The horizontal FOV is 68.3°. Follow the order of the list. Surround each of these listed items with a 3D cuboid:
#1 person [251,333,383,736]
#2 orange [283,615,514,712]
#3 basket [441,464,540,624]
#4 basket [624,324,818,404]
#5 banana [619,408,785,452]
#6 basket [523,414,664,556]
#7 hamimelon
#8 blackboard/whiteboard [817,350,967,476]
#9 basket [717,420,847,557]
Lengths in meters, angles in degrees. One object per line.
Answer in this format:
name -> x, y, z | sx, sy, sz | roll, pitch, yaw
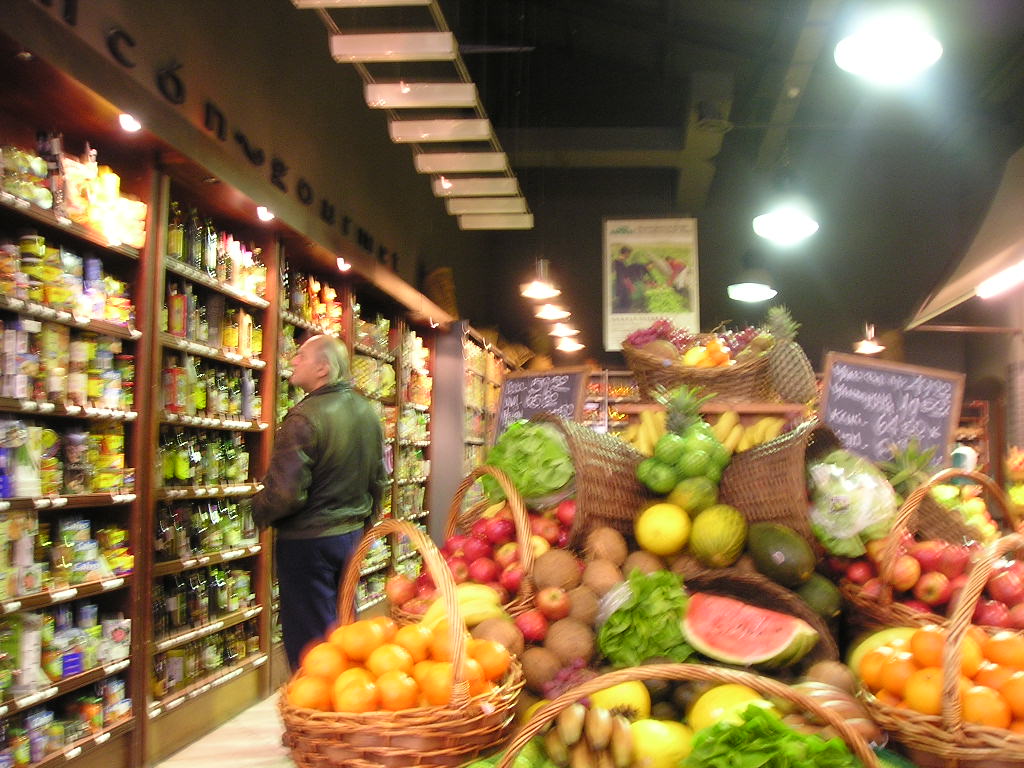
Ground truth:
person -> -0.963, 0.773, 4.036 | 0.602, 1.941, 0.674 | 3, 4, -8
orange -> -0.315, 0.736, 2.055 | 0.442, 0.231, 0.480 | 2, 5, 33
basket -> -0.066, 0.507, 2.468 | 0.236, 0.447, 0.270 | -2, 4, -23
basket -> 0.881, -0.052, 3.100 | 0.726, 0.338, 0.436 | -3, -6, -12
banana -> 0.671, 0.175, 2.697 | 0.599, 0.197, 0.216 | -6, -21, 5
basket -> 0.253, 0.326, 2.424 | 0.226, 0.347, 0.386 | -2, 5, -10
hamimelon -> 0.556, 0.436, 2.364 | 0.288, 0.271, 0.217 | -1, 5, -20
blackboard/whiteboard -> 1.635, 0.092, 3.247 | 0.617, 0.562, 0.263 | -4, 3, 13
basket -> 0.876, 0.329, 2.503 | 0.343, 0.375, 0.232 | 1, 5, 37
